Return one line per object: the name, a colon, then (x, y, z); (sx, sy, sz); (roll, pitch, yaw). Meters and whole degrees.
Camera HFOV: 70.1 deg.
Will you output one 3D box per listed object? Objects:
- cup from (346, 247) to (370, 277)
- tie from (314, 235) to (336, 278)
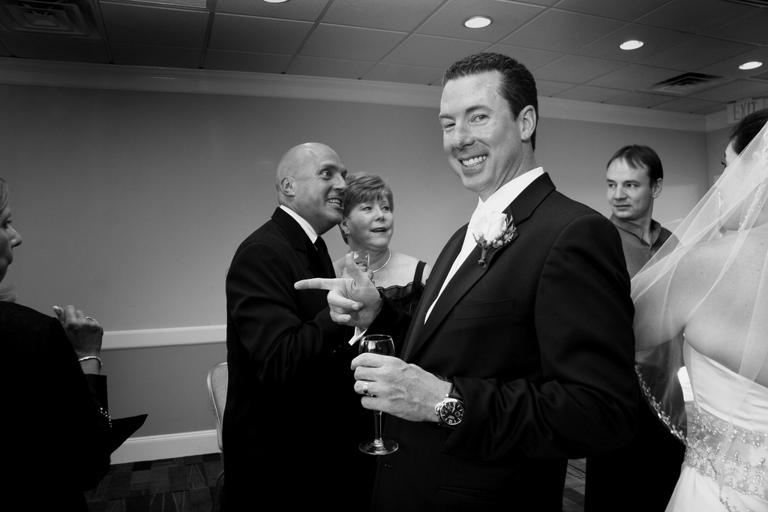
cup: (-0.155, 0.015, 3.780); (0.116, 0.152, 0.198); (-6, 8, -34)
tie: (-0.364, 0.010, 3.039); (0.072, 0.201, 0.148); (-10, -1, 35)
